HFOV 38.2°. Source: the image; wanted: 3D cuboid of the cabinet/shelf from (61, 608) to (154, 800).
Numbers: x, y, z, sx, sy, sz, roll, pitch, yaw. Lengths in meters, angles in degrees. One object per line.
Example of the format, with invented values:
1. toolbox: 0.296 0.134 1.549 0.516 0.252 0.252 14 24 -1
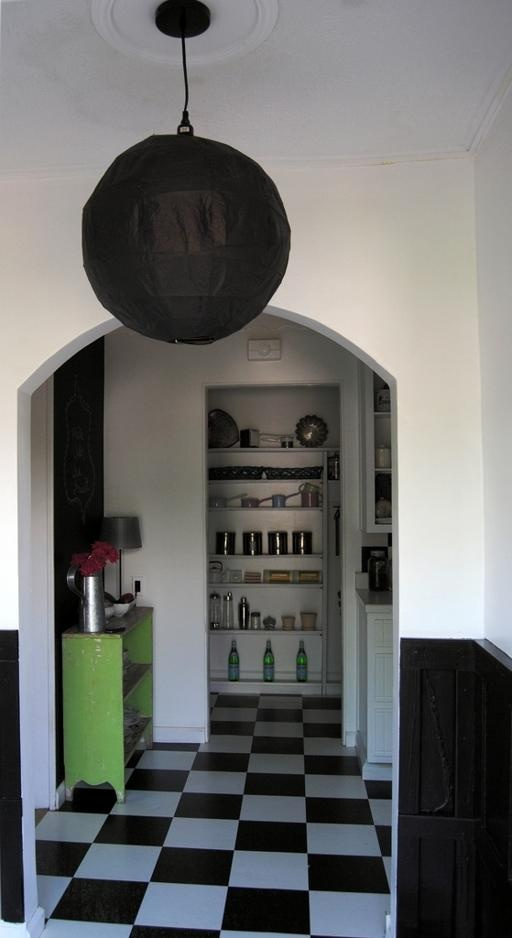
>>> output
1. cabinet/shelf: -0.711 1.168 3.760 0.260 0.762 0.830 -2 -5 3

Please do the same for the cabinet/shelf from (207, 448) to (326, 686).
1. cabinet/shelf: 0.076 0.706 5.130 0.804 1.651 0.359 -1 -1 -3

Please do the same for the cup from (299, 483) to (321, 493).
1. cup: 0.364 0.137 5.104 0.096 0.045 0.066 -2 -4 13

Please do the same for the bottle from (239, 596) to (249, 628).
1. bottle: -0.086 1.005 5.168 0.077 0.206 0.106 -1 -1 -2

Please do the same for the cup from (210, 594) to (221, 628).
1. cup: -0.288 0.990 5.149 0.073 0.236 0.068 -1 -1 0

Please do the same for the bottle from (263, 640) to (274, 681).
1. bottle: 0.084 1.317 5.088 0.077 0.287 0.134 -1 -1 2

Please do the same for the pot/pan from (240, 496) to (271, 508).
1. pot/pan: -0.005 0.223 5.176 0.196 0.081 0.085 1 2 -8

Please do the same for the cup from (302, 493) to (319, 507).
1. cup: 0.372 0.215 5.073 0.099 0.084 0.081 1 -2 5

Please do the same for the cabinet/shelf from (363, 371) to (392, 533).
1. cabinet/shelf: 0.645 -0.092 4.006 0.148 0.897 0.244 -1 -1 7

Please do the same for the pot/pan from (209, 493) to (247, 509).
1. pot/pan: -0.213 0.230 5.177 0.187 0.078 0.122 0 -1 -3

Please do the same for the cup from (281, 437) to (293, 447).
1. cup: 0.218 -0.184 5.122 0.056 0.056 0.073 0 -6 -6

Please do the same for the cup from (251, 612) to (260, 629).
1. cup: -0.002 1.055 5.143 0.078 0.152 0.083 0 -1 0

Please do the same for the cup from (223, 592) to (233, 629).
1. cup: -0.175 0.985 5.144 0.067 0.245 0.110 -2 -2 44

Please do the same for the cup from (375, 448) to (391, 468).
1. cup: 0.681 -0.059 4.041 0.092 0.114 0.092 0 3 0

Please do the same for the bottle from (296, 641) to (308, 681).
1. bottle: 0.308 1.317 5.049 0.076 0.268 0.150 -1 -1 5

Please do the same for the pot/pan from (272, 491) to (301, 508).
1. pot/pan: 0.193 0.214 5.149 0.220 0.130 0.092 1 -7 -20
